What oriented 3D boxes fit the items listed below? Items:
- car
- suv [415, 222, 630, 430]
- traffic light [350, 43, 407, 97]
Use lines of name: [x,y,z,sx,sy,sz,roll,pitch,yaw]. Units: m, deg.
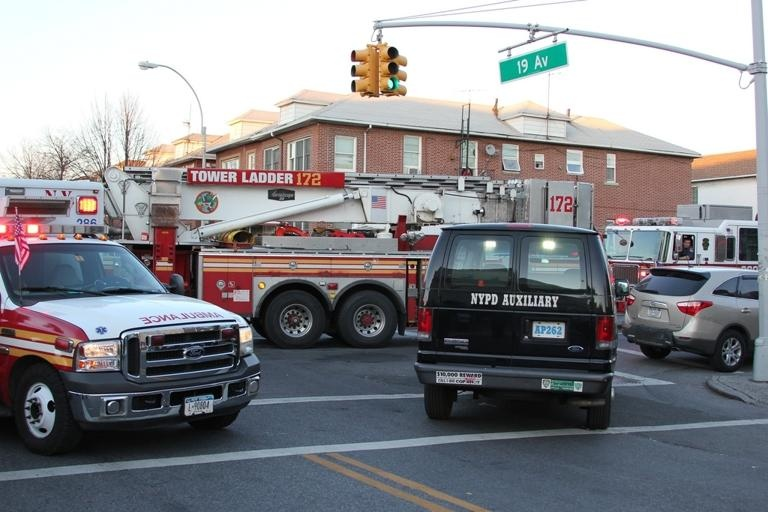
car: [6.264,1.156,15.341,3.277,1.250,1.716,-4,2,-37]
suv: [2.931,1.145,12.278,3.078,2.711,5.425,0,-4,27]
traffic light: [-0.129,-4.142,16.360,1.180,1.136,0.474,2,5,1]
